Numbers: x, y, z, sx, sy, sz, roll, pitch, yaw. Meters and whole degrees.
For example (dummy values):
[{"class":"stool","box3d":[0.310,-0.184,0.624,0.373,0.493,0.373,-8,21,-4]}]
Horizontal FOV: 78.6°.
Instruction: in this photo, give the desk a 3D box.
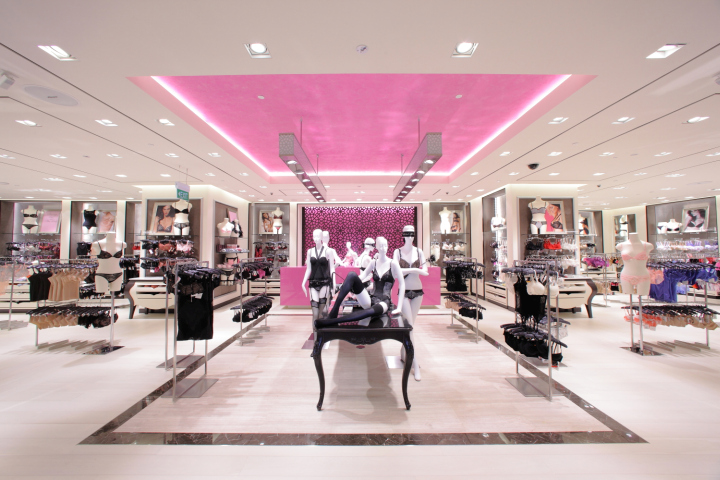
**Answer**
[{"class":"desk","box3d":[0.042,1.600,6.239,1.464,0.799,1.676,-1,-3,-2]}]

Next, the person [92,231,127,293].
[{"class":"person","box3d":[-4.739,0.449,8.299,0.689,1.144,0.442,-3,-4,31]}]

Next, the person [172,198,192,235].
[{"class":"person","box3d":[-4.421,-0.528,10.891,0.414,0.874,0.562,0,-4,-21]}]

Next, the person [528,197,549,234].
[{"class":"person","box3d":[4.467,-0.572,11.036,0.398,0.886,0.228,-3,-4,19]}]
